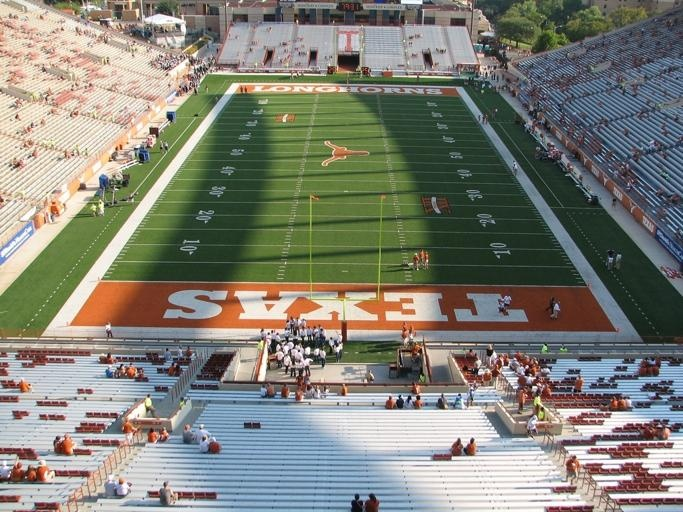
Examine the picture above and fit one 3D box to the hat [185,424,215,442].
[{"bbox_3d":[-4.579,5.641,20.800,0.634,1.088,0.450,0,86,-2],"label":"hat"}]
